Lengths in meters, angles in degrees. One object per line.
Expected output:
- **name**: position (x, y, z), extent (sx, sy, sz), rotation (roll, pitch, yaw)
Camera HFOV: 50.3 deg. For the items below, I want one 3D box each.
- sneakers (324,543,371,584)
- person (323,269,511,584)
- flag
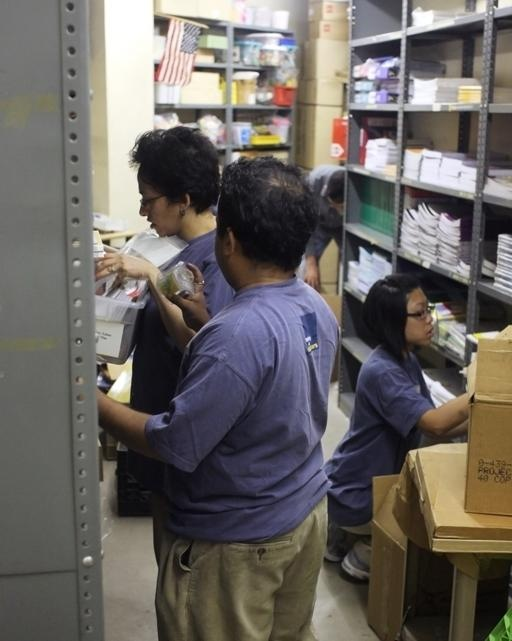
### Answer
- **sneakers**: position (0.398, 1.034, 2.378), extent (0.087, 0.131, 0.260), rotation (9, -3, 42)
- **person**: position (0.630, 0.483, 2.353), extent (0.735, 1.353, 0.583), rotation (7, 6, 31)
- **flag**: position (-0.683, -2.392, 4.879), extent (0.325, 0.496, 0.224), rotation (-8, 13, -42)
